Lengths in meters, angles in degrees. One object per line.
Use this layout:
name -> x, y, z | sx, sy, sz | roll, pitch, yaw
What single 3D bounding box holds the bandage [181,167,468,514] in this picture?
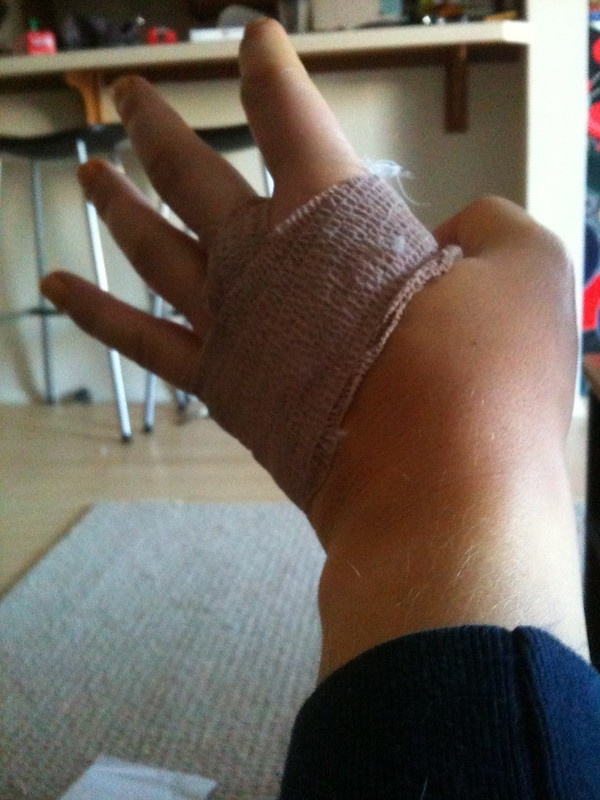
bandage -> 0.003, -0.018, 0.237 | 0.081, 0.095, 0.044 | 4, 18, 25
